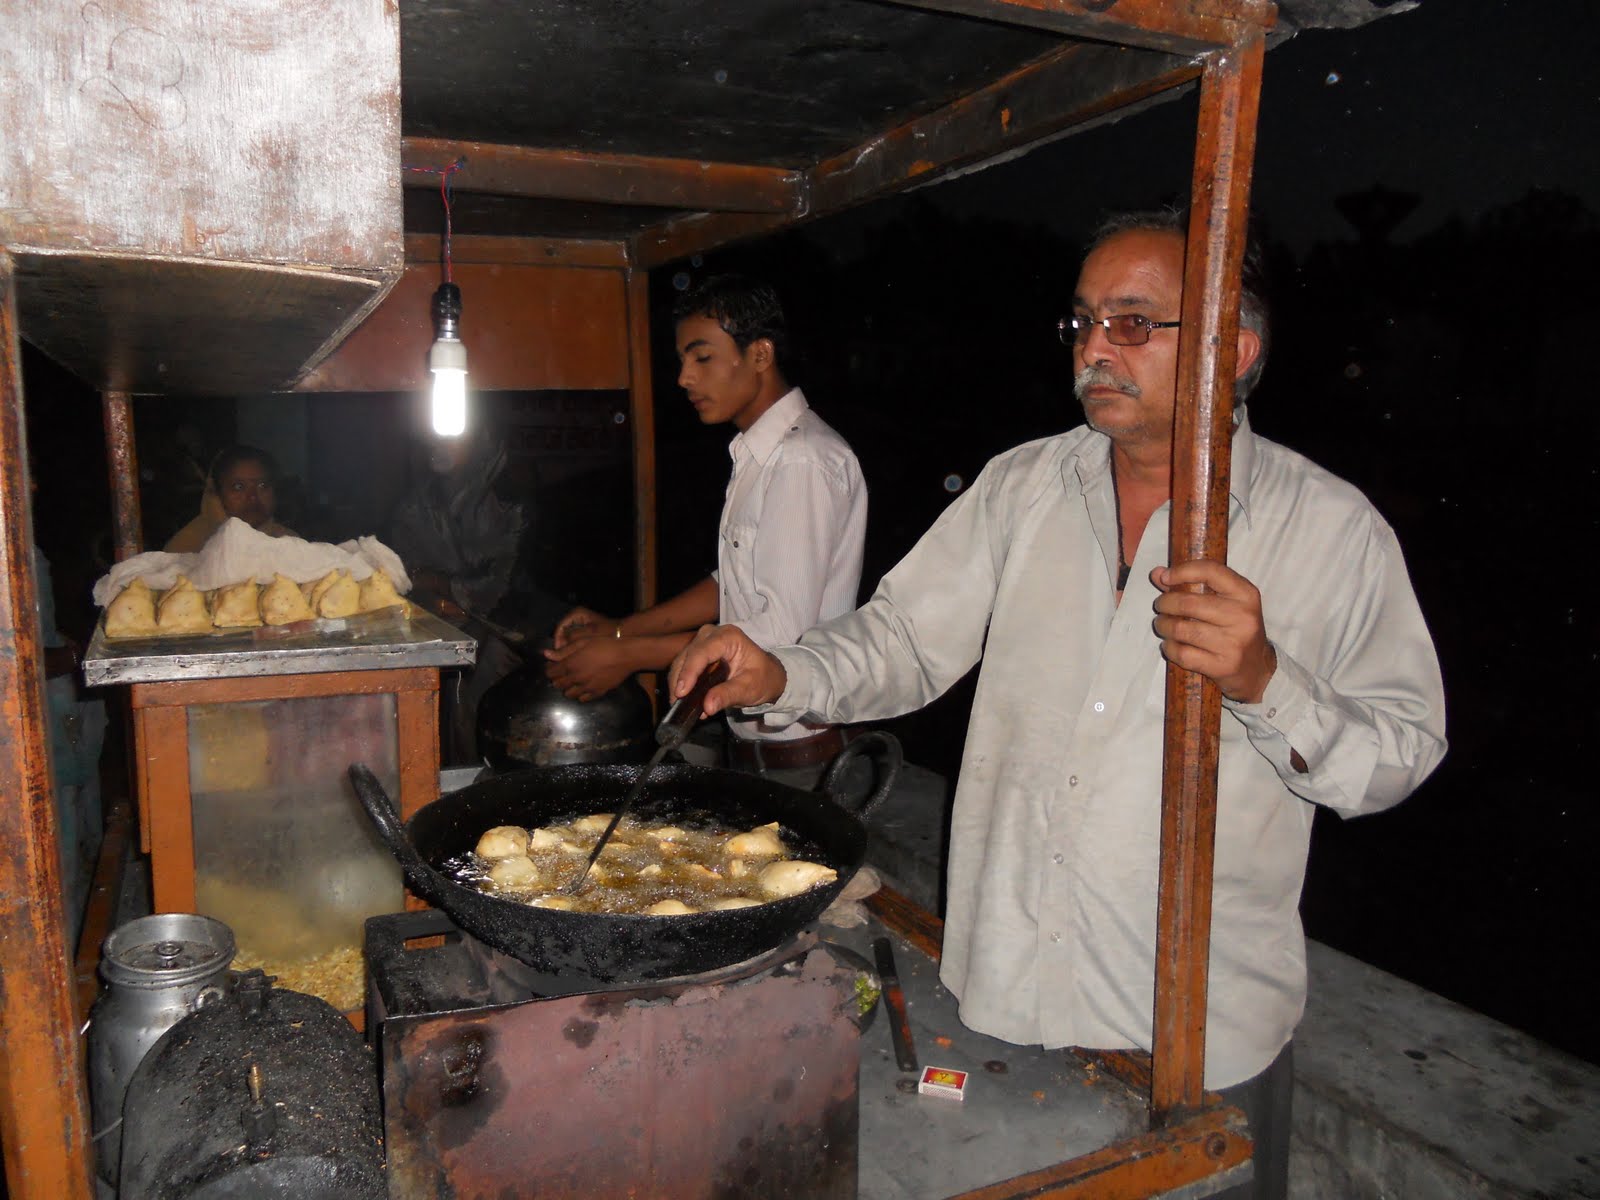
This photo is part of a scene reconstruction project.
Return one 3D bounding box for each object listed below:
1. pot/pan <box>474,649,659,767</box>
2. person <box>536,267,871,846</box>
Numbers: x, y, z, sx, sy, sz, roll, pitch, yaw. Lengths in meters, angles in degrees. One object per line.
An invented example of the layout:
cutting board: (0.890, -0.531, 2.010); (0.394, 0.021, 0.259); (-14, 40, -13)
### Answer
pot/pan: (-0.829, 0.350, 5.001); (0.541, 0.395, 0.569); (3, 4, -33)
person: (-0.273, -0.315, 4.890); (0.835, 2.224, 0.816); (3, 6, -37)
